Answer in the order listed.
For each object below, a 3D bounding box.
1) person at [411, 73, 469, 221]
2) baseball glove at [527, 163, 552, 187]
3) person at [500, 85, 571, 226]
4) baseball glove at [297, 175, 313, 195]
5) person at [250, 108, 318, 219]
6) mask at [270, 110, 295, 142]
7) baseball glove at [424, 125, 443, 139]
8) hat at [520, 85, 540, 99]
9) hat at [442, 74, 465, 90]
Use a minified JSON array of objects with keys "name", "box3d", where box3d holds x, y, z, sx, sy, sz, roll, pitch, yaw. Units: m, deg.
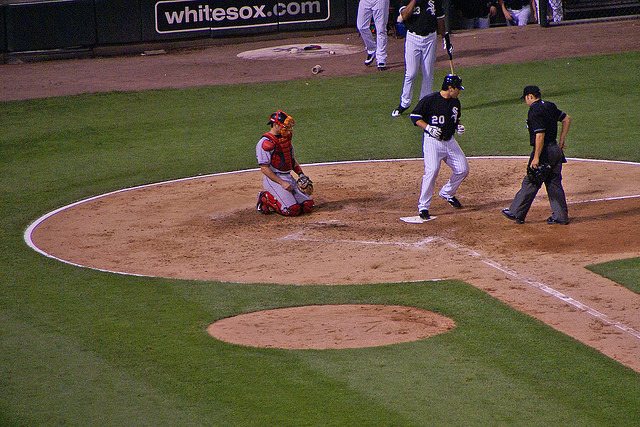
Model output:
[{"name":"person","box3d":[2.199,-1.193,19.632,0.935,2.626,0.636,-5,14,4]},{"name":"baseball glove","box3d":[3.887,-0.673,18.976,0.365,0.353,0.322,8,9,24]},{"name":"person","box3d":[3.880,-1.005,19.140,1.311,2.485,0.709,-6,14,-1]},{"name":"baseball glove","box3d":[-0.289,-0.530,20.223,0.145,0.371,0.269,-46,8,27]},{"name":"person","box3d":[-0.724,-0.902,20.215,1.161,2.018,0.686,-6,14,-3]},{"name":"mask","box3d":[-0.709,-1.619,20.119,0.390,0.571,0.258,-8,14,-11]},{"name":"baseball glove","box3d":[2.074,-1.470,19.526,0.290,0.187,0.077,20,76,49]},{"name":"hat","box3d":[3.716,-2.170,19.201,0.377,0.157,0.237,0,12,22]},{"name":"hat","box3d":[2.495,-2.387,19.556,0.453,0.171,0.275,-4,14,-18]}]
